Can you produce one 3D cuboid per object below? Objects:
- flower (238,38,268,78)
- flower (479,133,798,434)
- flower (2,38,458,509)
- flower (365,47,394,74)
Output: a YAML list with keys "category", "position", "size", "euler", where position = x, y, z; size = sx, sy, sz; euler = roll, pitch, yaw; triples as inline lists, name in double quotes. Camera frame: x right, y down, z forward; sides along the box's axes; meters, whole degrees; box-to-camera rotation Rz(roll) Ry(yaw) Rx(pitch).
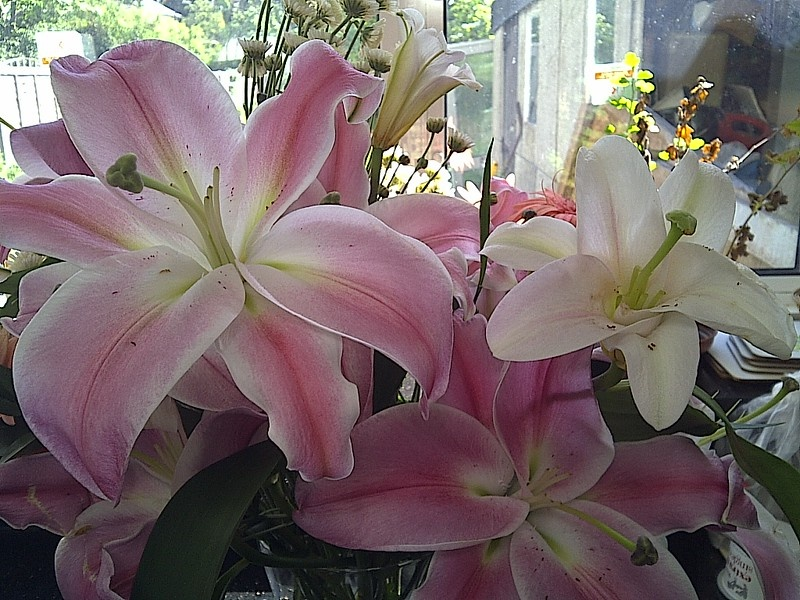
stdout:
- category: "flower"
  position: [-0.107, -0.176, 0.460]
  size: [0.023, 0.025, 0.026]
  euler: [10, 36, 5]
- category: "flower"
  position: [0.125, -0.017, 0.341]
  size: [0.160, 0.127, 0.113]
  euler: [1, 22, 1]
- category: "flower"
  position: [-0.093, -0.025, 0.328]
  size: [0.237, 0.204, 0.127]
  euler: [-1, 21, -4]
- category: "flower"
  position: [-0.016, -0.178, 0.468]
  size: [0.020, 0.022, 0.010]
  euler: [-9, -4, 25]
